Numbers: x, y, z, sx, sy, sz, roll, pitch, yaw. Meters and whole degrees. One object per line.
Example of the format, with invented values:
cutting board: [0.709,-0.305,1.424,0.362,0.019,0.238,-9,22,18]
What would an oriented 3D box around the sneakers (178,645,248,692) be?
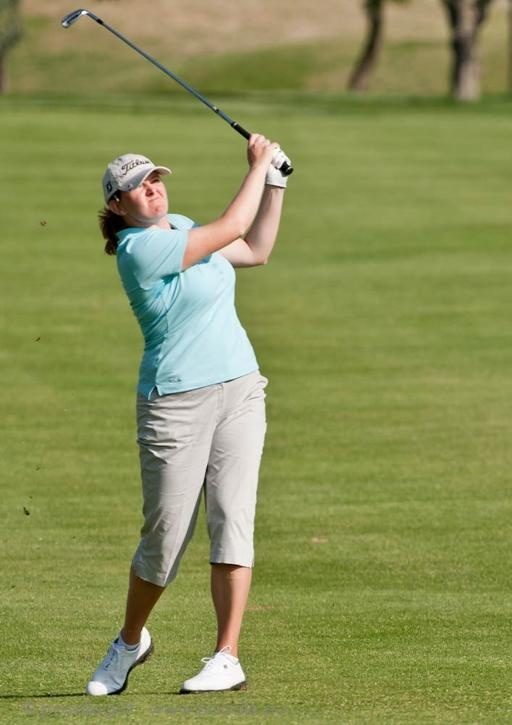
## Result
sneakers: [-0.114,0.847,3.798,0.082,0.091,0.202,7,6,39]

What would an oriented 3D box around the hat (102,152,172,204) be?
hat: [-0.346,-0.522,3.834,0.170,0.085,0.125,-28,-2,41]

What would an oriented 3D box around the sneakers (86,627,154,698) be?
sneakers: [-0.387,0.850,3.882,0.084,0.112,0.241,26,60,18]

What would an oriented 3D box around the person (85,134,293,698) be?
person: [-0.202,0.122,3.941,0.527,1.557,0.646,0,8,1]
